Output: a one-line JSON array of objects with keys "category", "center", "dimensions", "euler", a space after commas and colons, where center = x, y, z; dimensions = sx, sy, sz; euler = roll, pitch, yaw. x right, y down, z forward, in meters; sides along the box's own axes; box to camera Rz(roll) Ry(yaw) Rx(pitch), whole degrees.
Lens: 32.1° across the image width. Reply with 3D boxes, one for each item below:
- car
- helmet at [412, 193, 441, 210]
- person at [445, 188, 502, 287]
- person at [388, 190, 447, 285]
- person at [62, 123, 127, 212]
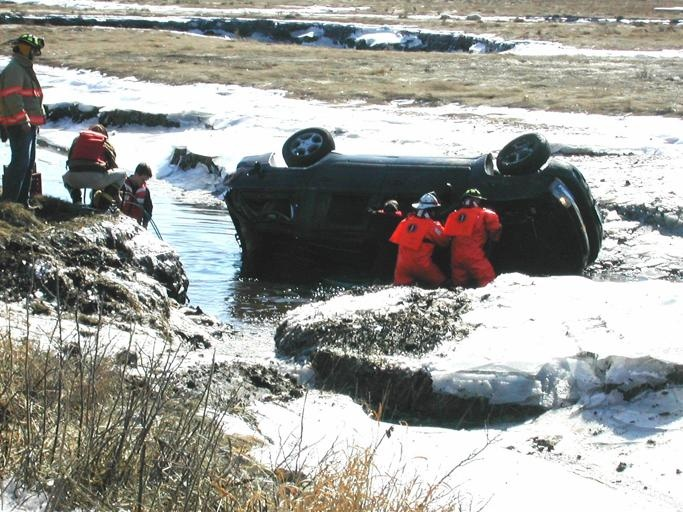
[{"category": "car", "center": [1.491, -0.921, 22.146], "dimensions": [5.556, 2.234, 3.115], "euler": [-1, -2, 18]}, {"category": "helmet", "center": [1.497, -0.900, 20.330], "dimensions": [0.397, 0.177, 0.303], "euler": [-4, 16, -13]}, {"category": "person", "center": [2.223, -0.255, 20.211], "dimensions": [0.944, 1.658, 0.384], "euler": [4, 13, 4]}, {"category": "person", "center": [1.353, -0.232, 20.372], "dimensions": [0.956, 1.602, 0.373], "euler": [4, 13, 4]}, {"category": "person", "center": [-4.176, -1.450, 20.000], "dimensions": [1.009, 1.207, 0.443], "euler": [0, 13, -13]}]
